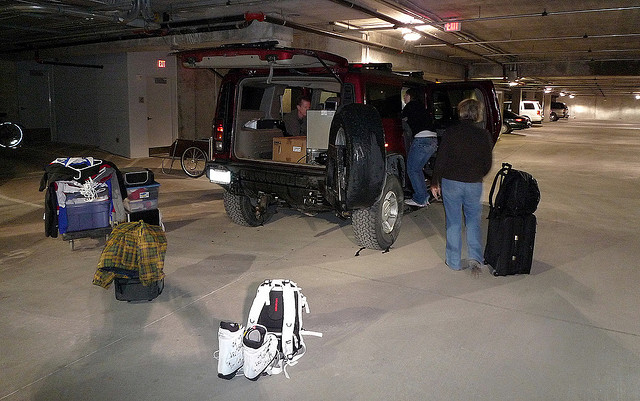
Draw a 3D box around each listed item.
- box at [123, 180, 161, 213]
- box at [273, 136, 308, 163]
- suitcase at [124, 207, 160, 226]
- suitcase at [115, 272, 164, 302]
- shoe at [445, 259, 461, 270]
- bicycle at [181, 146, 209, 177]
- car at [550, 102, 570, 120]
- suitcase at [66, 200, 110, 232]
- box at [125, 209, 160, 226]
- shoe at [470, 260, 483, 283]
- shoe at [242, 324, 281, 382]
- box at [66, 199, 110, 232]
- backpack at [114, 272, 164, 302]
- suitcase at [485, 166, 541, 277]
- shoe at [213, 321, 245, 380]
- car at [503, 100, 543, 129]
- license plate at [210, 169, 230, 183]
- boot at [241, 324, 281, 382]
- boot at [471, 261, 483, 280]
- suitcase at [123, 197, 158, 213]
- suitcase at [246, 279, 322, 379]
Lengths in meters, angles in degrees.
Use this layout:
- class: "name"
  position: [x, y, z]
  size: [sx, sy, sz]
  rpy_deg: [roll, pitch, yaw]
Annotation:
- class: "box"
  position: [-3.051, -0.069, 6.553]
  size: [0.624, 0.441, 0.695]
  rpy_deg: [-7, 2, -44]
- class: "box"
  position: [-0.676, -0.904, 6.947]
  size: [0.718, 0.405, 0.705]
  rpy_deg: [-4, 13, -38]
- class: "suitcase"
  position: [-2.793, 0.248, 6.284]
  size: [0.552, 0.285, 0.374]
  rpy_deg: [-3, 0, -21]
- class: "suitcase"
  position: [-2.349, 1.137, 5.172]
  size: [0.466, 0.324, 0.472]
  rpy_deg: [-1, 1, 6]
- class: "shoe"
  position: [2.078, 0.981, 6.099]
  size: [0.237, 0.075, 0.170]
  rpy_deg: [0, 11, 38]
- class: "bicycle"
  position: [-3.960, -1.252, 12.568]
  size: [1.023, 0.970, 0.322]
  rpy_deg: [1, -3, 14]
- class: "car"
  position: [33.095, -12.388, 54.436]
  size: [3.638, 2.230, 1.347]
  rpy_deg: [-11, 15, -40]
- class: "suitcase"
  position: [-3.769, 0.313, 6.794]
  size: [0.822, 0.489, 0.569]
  rpy_deg: [-4, -16, 15]
- class: "box"
  position: [-2.796, 0.250, 6.284]
  size: [0.540, 0.282, 0.383]
  rpy_deg: [0, -4, -24]
- class: "shoe"
  position: [2.354, 1.048, 5.903]
  size: [0.155, 0.304, 0.138]
  rpy_deg: [-2, -29, -12]
- class: "shoe"
  position: [-0.573, 1.476, 4.035]
  size: [0.241, 0.400, 0.674]
  rpy_deg: [3, 19, 13]
- class: "box"
  position: [-3.834, 0.249, 6.539]
  size: [0.643, 0.368, 0.432]
  rpy_deg: [-5, 5, -31]
- class: "backpack"
  position: [-2.437, 1.114, 5.363]
  size: [0.678, 0.424, 0.701]
  rpy_deg: [4, -5, -41]
- class: "suitcase"
  position: [2.863, 0.311, 5.843]
  size: [0.756, 1.617, 0.305]
  rpy_deg: [-2, 11, -3]
- class: "shoe"
  position: [-0.937, 1.543, 4.232]
  size: [0.277, 0.536, 0.761]
  rpy_deg: [4, -6, 1]
- class: "car"
  position: [20.846, -9.068, 41.072]
  size: [2.761, 2.637, 5.388]
  rpy_deg: [-15, 16, -28]
- class: "license plate"
  position: [-1.706, -0.430, 6.767]
  size: [0.418, 0.209, 0.057]
  rpy_deg: [5, 13, 30]
- class: "boot"
  position: [-0.631, 1.521, 4.180]
  size: [0.256, 0.467, 0.701]
  rpy_deg: [7, 11, 6]
- class: "boot"
  position: [2.346, 1.039, 5.889]
  size: [0.139, 0.235, 0.107]
  rpy_deg: [-4, -22, 1]
- class: "suitcase"
  position: [-2.849, 0.039, 6.335]
  size: [0.260, 0.107, 0.327]
  rpy_deg: [1, 8, 18]
- class: "suitcase"
  position: [-0.476, 1.299, 4.205]
  size: [0.835, 0.751, 0.678]
  rpy_deg: [-10, -16, -1]
